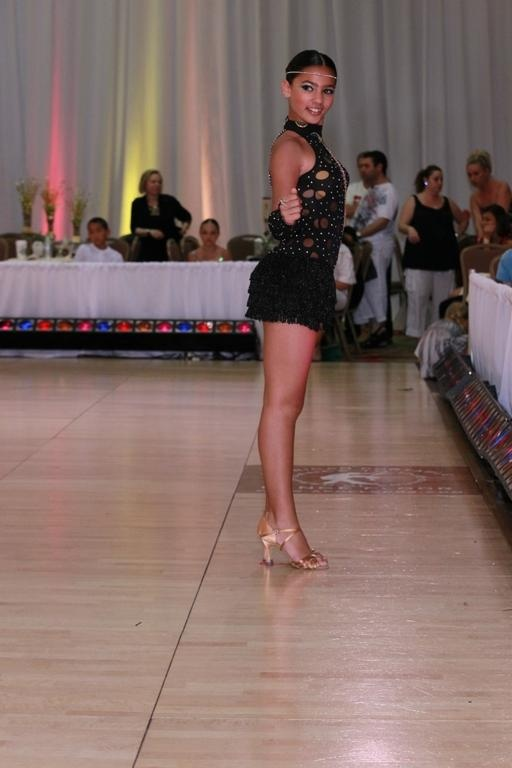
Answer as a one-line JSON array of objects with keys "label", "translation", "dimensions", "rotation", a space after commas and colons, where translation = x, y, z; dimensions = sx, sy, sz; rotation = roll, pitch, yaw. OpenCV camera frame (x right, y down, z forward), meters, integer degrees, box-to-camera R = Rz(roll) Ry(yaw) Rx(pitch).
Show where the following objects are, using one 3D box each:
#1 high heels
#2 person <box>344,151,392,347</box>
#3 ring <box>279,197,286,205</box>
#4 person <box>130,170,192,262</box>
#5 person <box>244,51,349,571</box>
[{"label": "high heels", "translation": [0.082, 0.412, 2.077], "dimensions": [0.221, 0.148, 0.095], "rotation": [3, 4, 2]}, {"label": "person", "translation": [1.102, -1.344, 7.724], "dimensions": [0.573, 1.792, 0.553], "rotation": [-2, 12, -1]}, {"label": "ring", "translation": [0.058, -0.414, 1.766], "dimensions": [0.006, 0.013, 0.017], "rotation": [15, 37, 0]}, {"label": "person", "translation": [-0.958, -1.690, 7.791], "dimensions": [0.570, 0.887, 0.789], "rotation": [-1, 10, -5]}, {"label": "person", "translation": [0.117, -0.168, 1.940], "dimensions": [0.258, 1.302, 0.268], "rotation": [-3, 11, -17]}]
